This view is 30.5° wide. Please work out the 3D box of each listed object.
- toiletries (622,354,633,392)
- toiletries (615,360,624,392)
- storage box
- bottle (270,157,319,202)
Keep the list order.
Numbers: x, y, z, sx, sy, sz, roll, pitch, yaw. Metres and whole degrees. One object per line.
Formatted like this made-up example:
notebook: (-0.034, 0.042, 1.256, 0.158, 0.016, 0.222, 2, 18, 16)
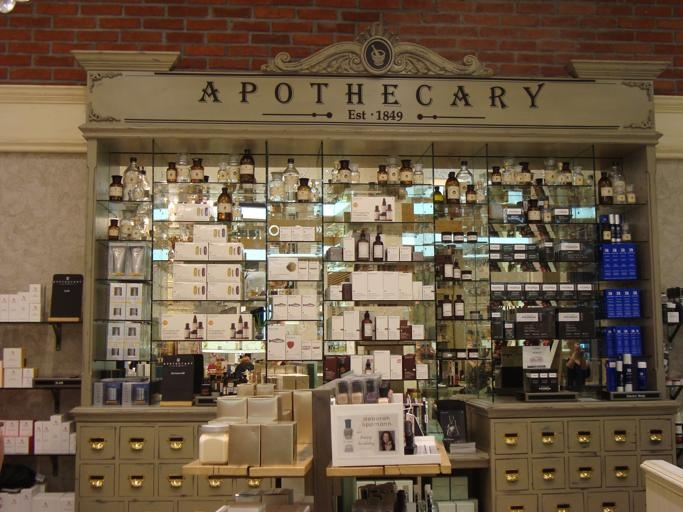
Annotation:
toiletries: (2.753, 1.127, 12.037, 0.069, 0.348, 0.161, -7, -9, 38)
toiletries: (2.666, 1.157, 12.012, 0.085, 0.283, 0.048, 3, -9, -35)
storage box: (-0.723, 1.533, 10.238, 1.380, 0.884, 0.892, 3, -10, -8)
bottle: (-0.463, -0.725, 12.302, 0.453, 0.456, 0.351, 0, -1, -5)
